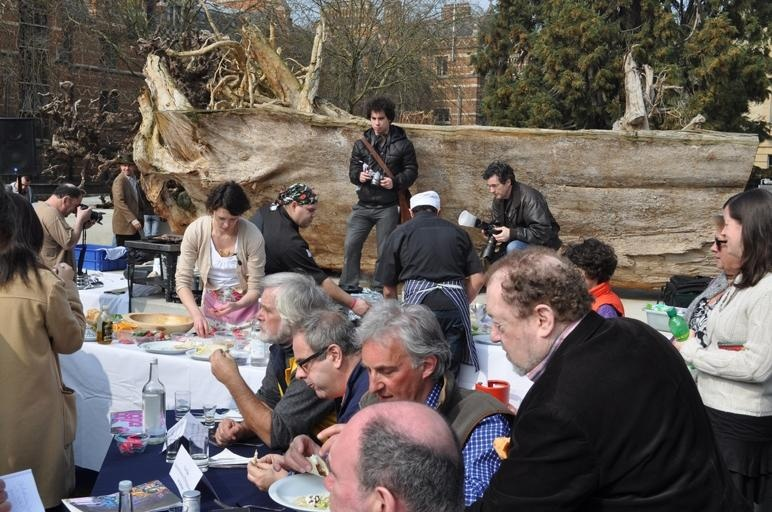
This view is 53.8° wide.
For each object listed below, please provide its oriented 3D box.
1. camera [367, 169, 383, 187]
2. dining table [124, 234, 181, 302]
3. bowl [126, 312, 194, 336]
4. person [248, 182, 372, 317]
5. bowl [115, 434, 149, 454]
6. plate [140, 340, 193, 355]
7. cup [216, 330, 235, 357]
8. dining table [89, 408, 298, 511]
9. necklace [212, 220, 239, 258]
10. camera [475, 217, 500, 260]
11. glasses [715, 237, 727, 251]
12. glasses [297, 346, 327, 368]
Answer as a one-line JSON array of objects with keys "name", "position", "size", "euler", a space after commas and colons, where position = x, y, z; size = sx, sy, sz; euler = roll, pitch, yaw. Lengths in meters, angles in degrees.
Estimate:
[{"name": "camera", "position": [-0.145, -1.079, 10.619], "size": [0.179, 0.184, 0.083], "euler": [10, -14, -20]}, {"name": "dining table", "position": [-3.580, 0.211, 11.713], "size": [0.867, 0.872, 0.883], "euler": [6, 13, 22]}, {"name": "bowl", "position": [-2.327, 0.678, 7.832], "size": [0.356, 0.089, 0.327], "euler": [8, 6, -1]}, {"name": "person", "position": [-0.877, -0.166, 8.869], "size": [0.935, 0.880, 1.434], "euler": [-14, -24, -11]}, {"name": "bowl", "position": [-1.906, 1.402, 5.697], "size": [0.146, 0.074, 0.144], "euler": [3, -1, 0]}, {"name": "plate", "position": [-2.067, 0.863, 7.188], "size": [0.477, 0.076, 0.351], "euler": [-3, 8, -14]}, {"name": "cup", "position": [-1.580, 0.856, 7.467], "size": [0.233, 0.189, 0.216], "euler": [4, -1, 0]}, {"name": "dining table", "position": [-1.418, 1.562, 5.463], "size": [1.265, 0.264, 0.931], "euler": [-2, 8, -10]}, {"name": "necklace", "position": [-1.653, -0.172, 7.857], "size": [0.269, 0.363, 0.183], "euler": [1, 0, 5]}, {"name": "camera", "position": [1.255, -0.192, 9.298], "size": [0.192, 0.527, 0.281], "euler": [1, 9, -45]}, {"name": "glasses", "position": [2.926, -0.103, 6.658], "size": [0.113, 0.102, 0.135], "euler": [4, 9, 14]}, {"name": "glasses", "position": [-0.550, 0.768, 5.761], "size": [0.170, 0.047, 0.163], "euler": [-35, 1, -25]}]
